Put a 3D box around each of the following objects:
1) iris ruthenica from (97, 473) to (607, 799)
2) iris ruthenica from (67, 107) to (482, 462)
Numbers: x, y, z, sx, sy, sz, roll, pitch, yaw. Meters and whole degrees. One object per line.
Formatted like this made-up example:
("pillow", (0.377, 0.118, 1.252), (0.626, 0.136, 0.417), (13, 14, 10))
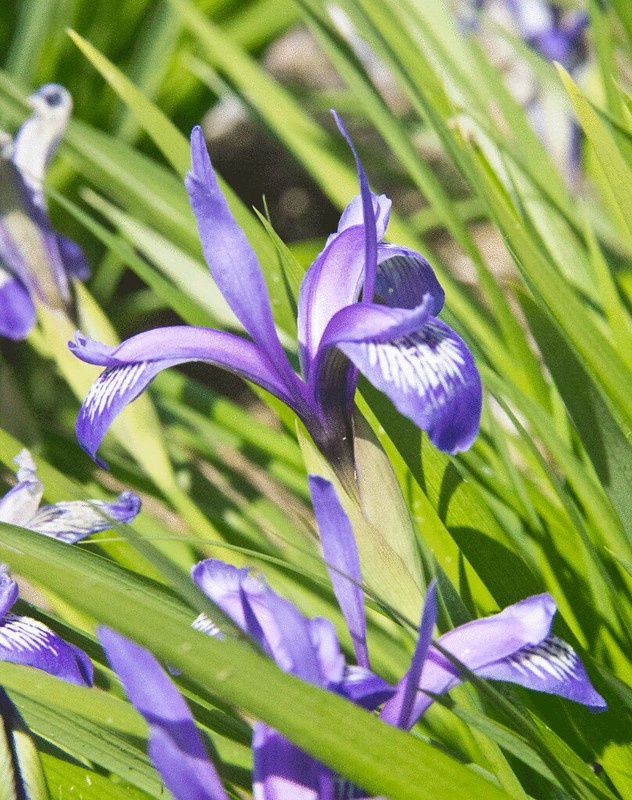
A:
("iris ruthenica", (0.018, 0.094, 0.323), (0.062, 0.144, 0.135), (31, -28, -26))
("iris ruthenica", (-0.029, -0.007, 0.468), (0.151, 0.176, 0.168), (-18, 37, 1))
